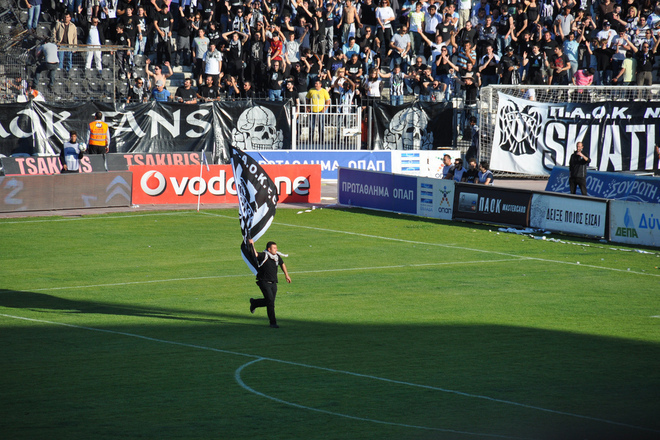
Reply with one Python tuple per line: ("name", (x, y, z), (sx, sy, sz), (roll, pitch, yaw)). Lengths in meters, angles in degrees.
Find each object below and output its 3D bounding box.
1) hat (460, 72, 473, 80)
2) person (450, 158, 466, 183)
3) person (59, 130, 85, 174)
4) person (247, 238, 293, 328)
("hat", (6.453, -6.705, 63.348), (0.511, 0.305, 0.511), (1, 6, 5))
("person", (5.444, -2.137, 57.149), (0.566, 0.853, 1.604), (2, 6, 5))
("person", (-10.879, -2.855, 56.845), (0.642, 1.657, 1.113), (4, 7, 28))
("person", (-1.995, 1.976, 42.442), (1.209, 2.661, 1.061), (1, 6, -2))
